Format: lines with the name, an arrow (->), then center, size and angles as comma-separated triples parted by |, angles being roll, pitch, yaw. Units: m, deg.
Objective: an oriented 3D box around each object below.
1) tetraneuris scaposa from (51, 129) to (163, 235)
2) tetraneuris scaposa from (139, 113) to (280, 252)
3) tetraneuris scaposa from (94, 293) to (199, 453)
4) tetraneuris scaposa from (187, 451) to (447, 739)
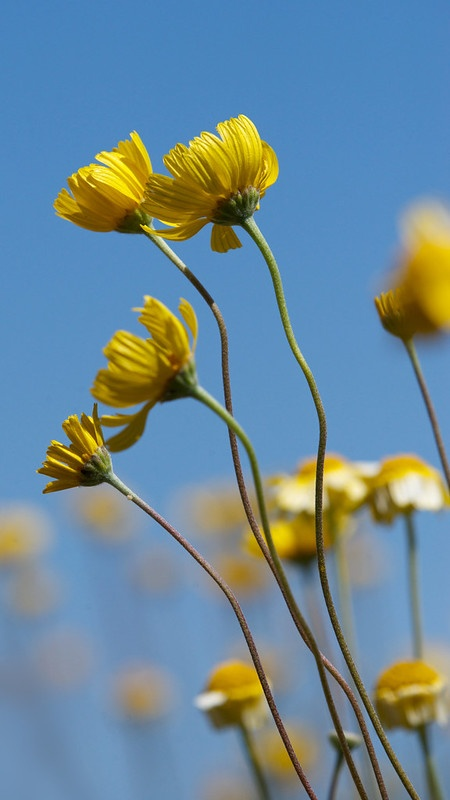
tetraneuris scaposa -> -0.078, -0.146, 0.900 | 0.059, 0.070, 0.071 | 43, -6, -3
tetraneuris scaposa -> -0.004, -0.155, 0.880 | 0.086, 0.070, 0.105 | -25, -37, 36
tetraneuris scaposa -> -0.057, -0.021, 0.840 | 0.056, 0.107, 0.101 | 7, -64, -12
tetraneuris scaposa -> 0.112, 0.176, 1.104 | 0.205, 0.238, 0.207 | 2, -30, -23
